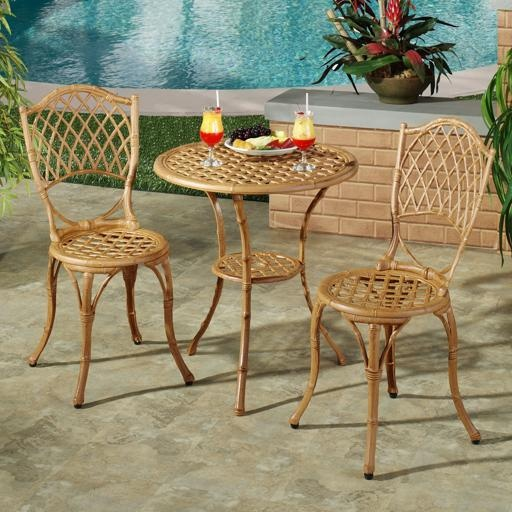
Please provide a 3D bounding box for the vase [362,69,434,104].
[{"bbox_3d":[0.829,-0.929,3.337,0.269,0.170,0.378,-16,23,-29],"label":"vase"}]

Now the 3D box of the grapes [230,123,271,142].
[{"bbox_3d":[-0.017,-0.460,2.326,0.168,0.050,0.079,-10,34,2],"label":"grapes"}]
